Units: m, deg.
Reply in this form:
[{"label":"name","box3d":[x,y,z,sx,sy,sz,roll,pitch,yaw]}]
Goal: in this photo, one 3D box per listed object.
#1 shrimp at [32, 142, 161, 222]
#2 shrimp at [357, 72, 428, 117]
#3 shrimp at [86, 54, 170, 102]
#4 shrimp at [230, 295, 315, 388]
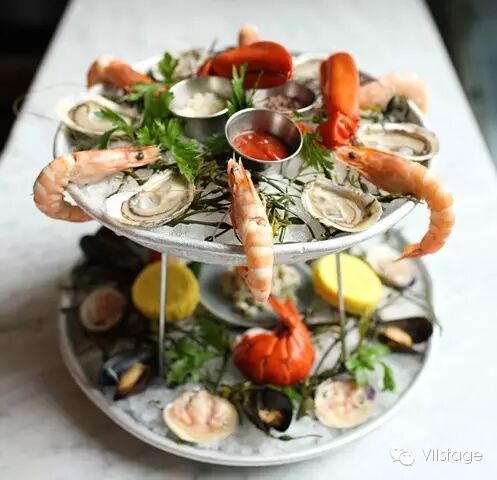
[{"label":"shrimp","box3d":[-0.314,-0.131,1.141,0.298,0.148,0.061,-26,78,-22]},{"label":"shrimp","box3d":[0.361,-0.365,1.371,0.179,0.088,0.060,-1,65,-9]},{"label":"shrimp","box3d":[-0.307,-0.388,1.348,0.168,0.101,0.210,16,23,28]},{"label":"shrimp","box3d":[0.078,0.240,1.282,0.193,0.206,0.203,26,62,4]}]
